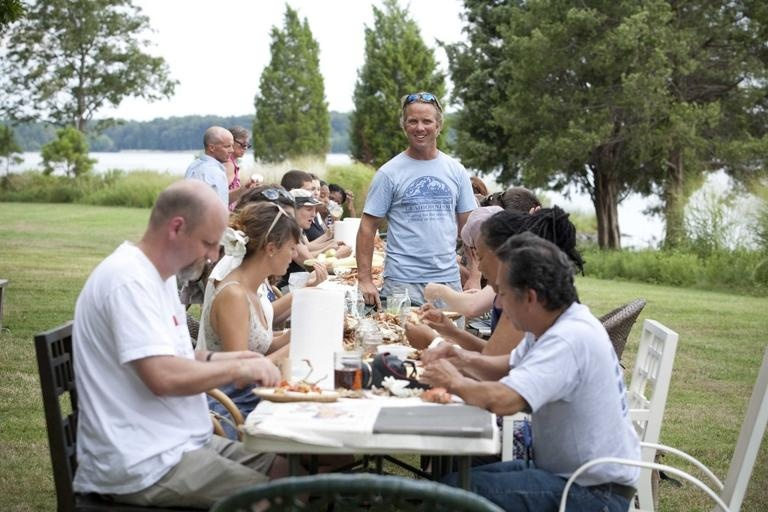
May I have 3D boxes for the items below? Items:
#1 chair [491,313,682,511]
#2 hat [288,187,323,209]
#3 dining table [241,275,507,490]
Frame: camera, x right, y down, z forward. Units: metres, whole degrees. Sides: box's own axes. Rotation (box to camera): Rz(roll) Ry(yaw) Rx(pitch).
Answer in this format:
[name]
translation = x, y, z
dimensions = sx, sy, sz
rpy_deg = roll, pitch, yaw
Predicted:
[chair]
translation = 1.637, 1.143, 5.806
dimensions = 1.378, 2.149, 1.212
rpy_deg = 2, 0, 2
[hat]
translation = -0.819, -0.604, 7.298
dimensions = 0.318, 0.125, 0.211
rpy_deg = 3, 9, -13
[dining table]
translation = -0.074, 0.814, 4.340
dimensions = 1.441, 0.462, 0.999
rpy_deg = 1, 7, 2
